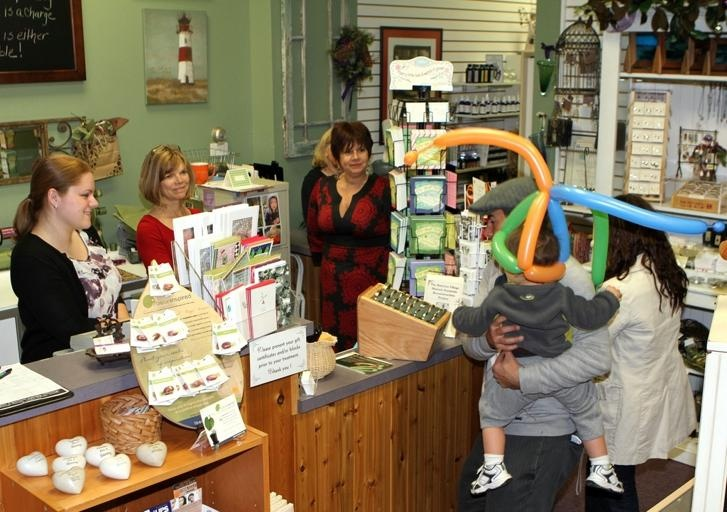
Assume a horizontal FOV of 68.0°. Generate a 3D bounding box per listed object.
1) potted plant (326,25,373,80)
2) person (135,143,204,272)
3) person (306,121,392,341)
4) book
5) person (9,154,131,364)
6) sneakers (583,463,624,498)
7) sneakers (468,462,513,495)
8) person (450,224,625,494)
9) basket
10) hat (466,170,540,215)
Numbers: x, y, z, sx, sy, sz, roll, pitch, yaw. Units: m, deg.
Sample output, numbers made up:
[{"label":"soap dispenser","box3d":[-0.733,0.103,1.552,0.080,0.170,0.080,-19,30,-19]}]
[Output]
[{"label":"potted plant","box3d":[-0.163,-2.689,7.157,0.642,0.711,0.239,-15,19,-38]},{"label":"person","box3d":[-1.396,-0.332,3.746,0.381,0.815,0.781,-4,15,-3]},{"label":"person","box3d":[-0.134,-0.128,4.416,0.766,1.859,0.636,0,15,12]},{"label":"book","box3d":[0.380,-0.375,3.550,0.442,1.247,0.503,-2,15,3]},{"label":"person","box3d":[-1.581,0.008,2.800,0.502,1.007,0.684,-9,16,-19]},{"label":"sneakers","box3d":[1.084,1.011,2.428,0.263,0.131,0.091,15,-10,-41]},{"label":"sneakers","box3d":[0.559,0.997,2.418,0.080,0.211,0.141,30,35,-36]},{"label":"person","box3d":[0.808,0.461,2.471,0.746,1.263,0.527,-3,1,18]},{"label":"basket","box3d":[-0.855,0.612,1.966,0.193,0.143,0.197,1,7,-6]},{"label":"hat","box3d":[0.674,-0.286,2.582,0.237,0.087,0.190,-19,4,-1]}]
